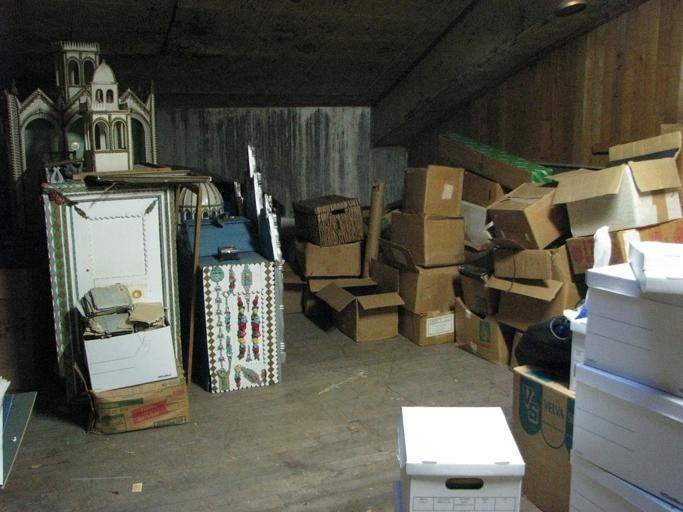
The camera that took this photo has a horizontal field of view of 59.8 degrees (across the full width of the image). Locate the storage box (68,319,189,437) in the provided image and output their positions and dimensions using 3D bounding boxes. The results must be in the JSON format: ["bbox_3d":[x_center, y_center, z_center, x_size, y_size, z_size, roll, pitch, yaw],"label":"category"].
[{"bbox_3d":[-1.609,0.861,4.613,0.769,0.750,0.766,-3,6,-14],"label":"storage box"}]
